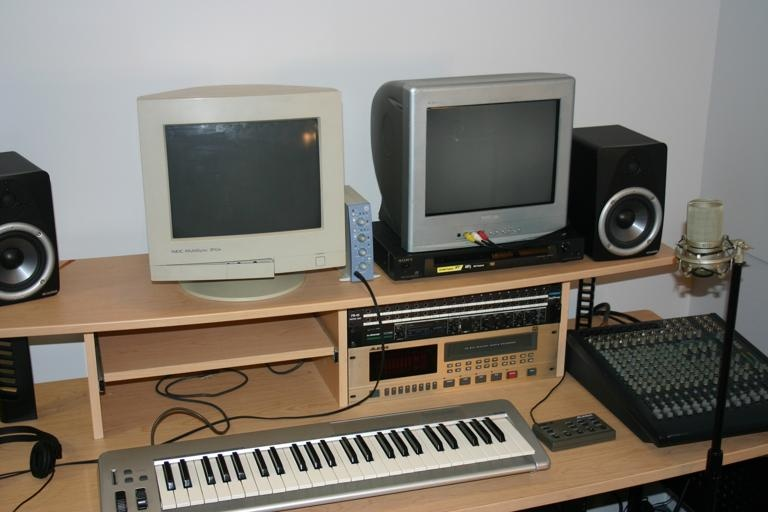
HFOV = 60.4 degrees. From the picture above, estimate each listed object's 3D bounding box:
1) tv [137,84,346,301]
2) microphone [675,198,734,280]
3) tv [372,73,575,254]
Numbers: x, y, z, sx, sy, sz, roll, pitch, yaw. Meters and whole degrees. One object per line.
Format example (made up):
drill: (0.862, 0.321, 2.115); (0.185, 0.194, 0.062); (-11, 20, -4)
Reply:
tv: (-0.478, -0.220, 2.236); (0.654, 0.618, 0.368); (-4, 20, -10)
microphone: (0.985, -0.047, 2.024); (0.154, 0.213, 0.104); (3, 20, 24)
tv: (0.304, -0.412, 2.645); (0.871, 0.732, 0.628); (-6, 21, -15)
